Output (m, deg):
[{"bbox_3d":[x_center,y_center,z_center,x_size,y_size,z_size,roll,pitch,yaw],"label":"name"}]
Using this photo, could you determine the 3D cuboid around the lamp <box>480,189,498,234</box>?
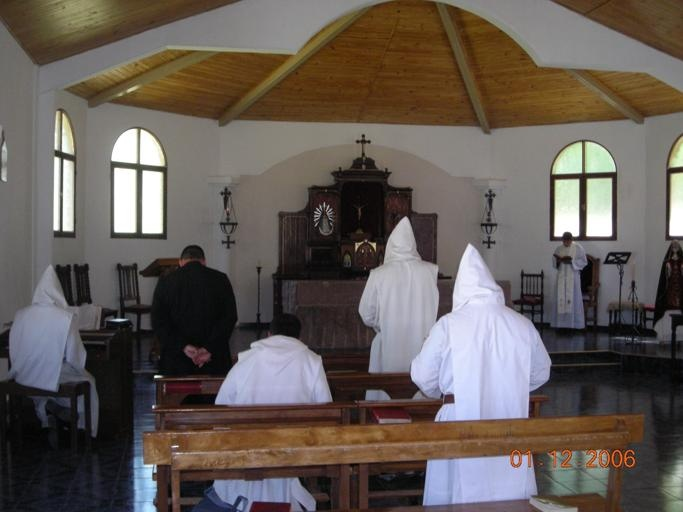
[{"bbox_3d":[2.791,-0.833,13.150,0.312,0.873,0.345,0,0,12],"label":"lamp"}]

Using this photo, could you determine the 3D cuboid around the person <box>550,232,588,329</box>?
[{"bbox_3d":[3.930,0.431,12.040,0.543,1.676,0.365,0,0,18],"label":"person"}]

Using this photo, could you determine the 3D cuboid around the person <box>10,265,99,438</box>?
[{"bbox_3d":[-2.815,0.933,6.727,0.825,1.640,0.305,0,0,4],"label":"person"}]

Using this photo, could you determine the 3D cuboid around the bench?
[{"bbox_3d":[0.263,1.475,4.808,3.174,0.796,0.779,0,0,0],"label":"bench"}]

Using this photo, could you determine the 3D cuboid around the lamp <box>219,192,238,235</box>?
[{"bbox_3d":[-2.049,-0.825,12.589,0.300,0.843,0.311,-1,8,-11],"label":"lamp"}]

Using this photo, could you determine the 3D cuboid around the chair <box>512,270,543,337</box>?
[{"bbox_3d":[3.406,0.789,12.713,0.517,1.100,0.586,2,-3,-19],"label":"chair"}]

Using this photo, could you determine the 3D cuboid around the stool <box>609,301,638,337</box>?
[{"bbox_3d":[4.855,1.042,11.919,0.537,0.645,0.523,0,5,41],"label":"stool"}]

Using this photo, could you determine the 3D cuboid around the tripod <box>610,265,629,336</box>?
[{"bbox_3d":[4.674,0.710,11.739,0.201,1.220,1.347,0,0,22],"label":"tripod"}]

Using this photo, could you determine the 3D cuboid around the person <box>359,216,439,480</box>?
[{"bbox_3d":[0.617,0.650,7.471,0.785,0.605,2.586,-7,-45,-8],"label":"person"}]

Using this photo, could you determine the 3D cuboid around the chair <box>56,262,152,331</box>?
[{"bbox_3d":[-3.758,0.587,10.813,0.966,1.869,0.975,-2,-1,29],"label":"chair"}]
